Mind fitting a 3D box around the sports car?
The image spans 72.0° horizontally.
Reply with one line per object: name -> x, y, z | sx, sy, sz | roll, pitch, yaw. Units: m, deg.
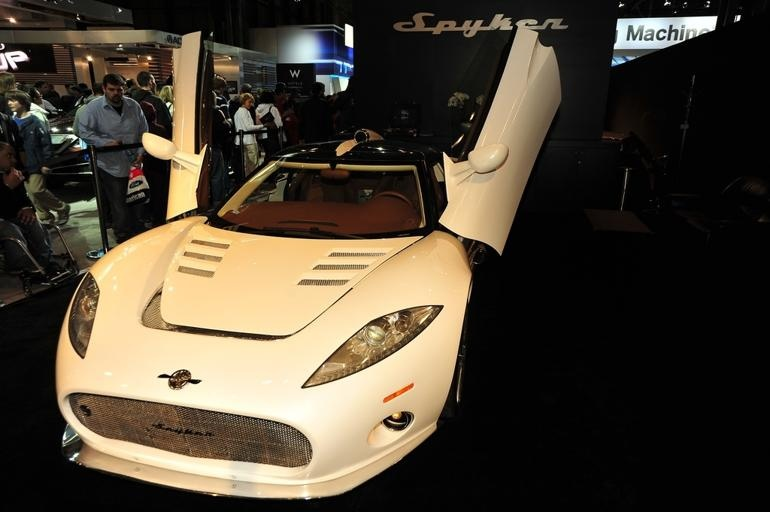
sports car -> -0.390, 0.186, 4.519 | 2.474, 1.971, 3.971 | 9, 32, 11
